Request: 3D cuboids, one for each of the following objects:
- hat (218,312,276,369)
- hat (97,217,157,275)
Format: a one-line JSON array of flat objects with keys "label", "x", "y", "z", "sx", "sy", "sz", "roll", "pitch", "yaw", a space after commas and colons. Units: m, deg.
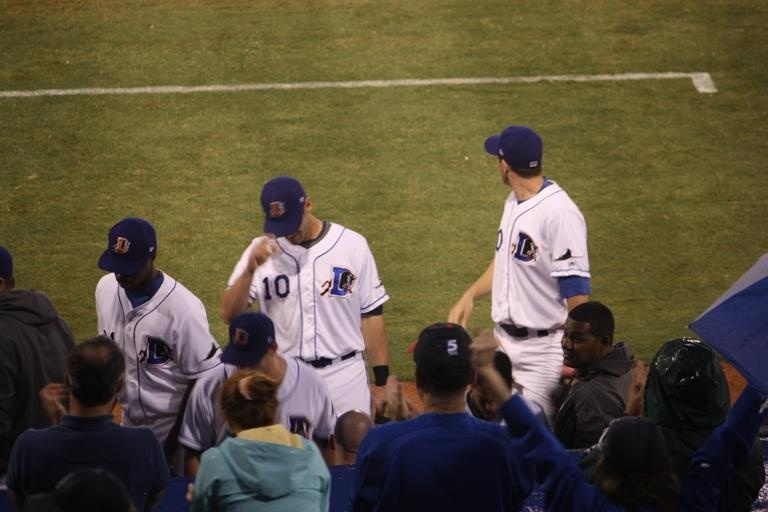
[{"label": "hat", "x": -1.383, "y": 0.866, "z": 14.042, "sx": 0.541, "sy": 0.565, "sz": 0.212, "roll": 0, "pitch": -1, "yaw": -8}, {"label": "hat", "x": -2.666, "y": -0.090, "z": 14.398, "sx": 0.492, "sy": 0.355, "sz": 0.655, "roll": 20, "pitch": 44, "yaw": 15}]
